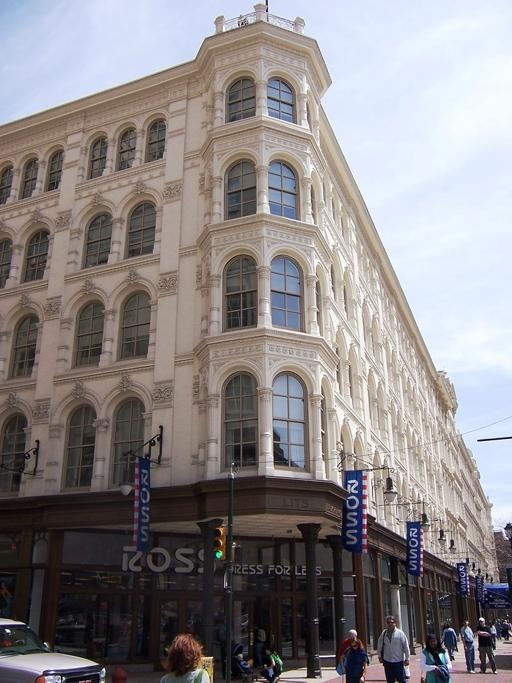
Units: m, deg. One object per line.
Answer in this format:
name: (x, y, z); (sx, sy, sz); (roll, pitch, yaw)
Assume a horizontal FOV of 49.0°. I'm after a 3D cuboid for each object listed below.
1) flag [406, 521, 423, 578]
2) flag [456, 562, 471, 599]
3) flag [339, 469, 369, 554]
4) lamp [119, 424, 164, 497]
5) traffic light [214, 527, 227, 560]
flag: (8.445, 10.928, 29.856); (1.071, 2.597, 0.840); (-12, -29, 22)
flag: (19.344, 21.963, 52.291); (0.985, 2.854, 3.284); (-8, -27, 16)
flag: (3.546, 5.984, 20.126); (1.045, 2.787, 0.591); (-8, -27, 15)
lamp: (-4.015, 4.274, 19.963); (1.642, 3.018, 0.798); (23, -39, -33)
traffic light: (-0.856, 4.766, 13.428); (0.247, 0.695, 0.326); (5, -27, -10)
